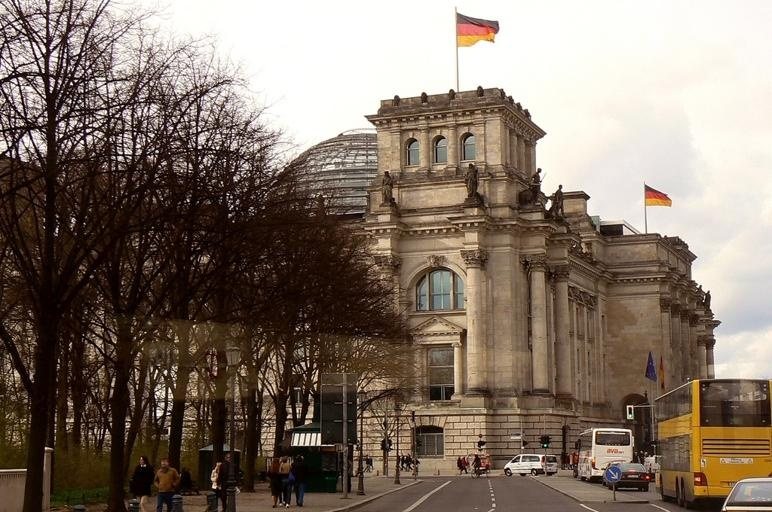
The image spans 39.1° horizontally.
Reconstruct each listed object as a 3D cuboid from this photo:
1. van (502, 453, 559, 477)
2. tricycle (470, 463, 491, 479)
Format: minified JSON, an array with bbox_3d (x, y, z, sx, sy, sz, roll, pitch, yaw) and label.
[{"bbox_3d":[12.143,18.092,94.142,3.359,1.506,2.307,-1,-7,19],"label":"van"},{"bbox_3d":[8.272,18.546,93.285,2.100,1.194,0.928,0,-1,-17],"label":"tricycle"}]
